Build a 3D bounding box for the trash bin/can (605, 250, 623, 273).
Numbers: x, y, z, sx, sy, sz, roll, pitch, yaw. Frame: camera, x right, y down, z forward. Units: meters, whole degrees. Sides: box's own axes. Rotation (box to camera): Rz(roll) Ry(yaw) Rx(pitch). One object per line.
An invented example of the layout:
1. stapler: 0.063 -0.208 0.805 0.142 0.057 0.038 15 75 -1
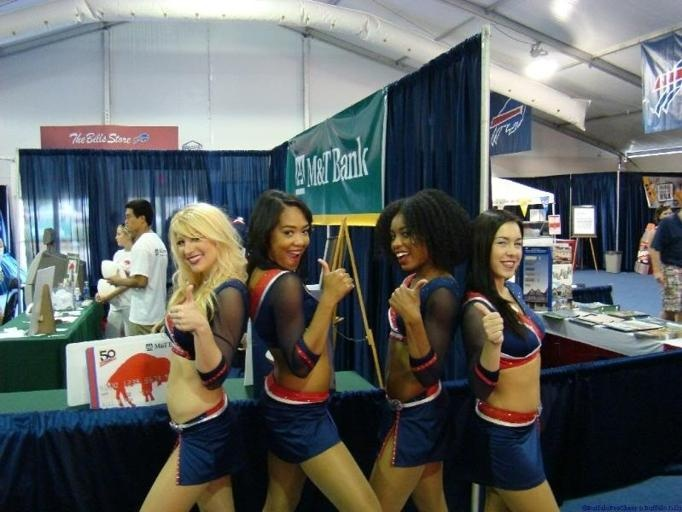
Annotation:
1. trash bin/can: 6.317 0.124 12.948 0.418 0.678 0.419 2 -1 -37
